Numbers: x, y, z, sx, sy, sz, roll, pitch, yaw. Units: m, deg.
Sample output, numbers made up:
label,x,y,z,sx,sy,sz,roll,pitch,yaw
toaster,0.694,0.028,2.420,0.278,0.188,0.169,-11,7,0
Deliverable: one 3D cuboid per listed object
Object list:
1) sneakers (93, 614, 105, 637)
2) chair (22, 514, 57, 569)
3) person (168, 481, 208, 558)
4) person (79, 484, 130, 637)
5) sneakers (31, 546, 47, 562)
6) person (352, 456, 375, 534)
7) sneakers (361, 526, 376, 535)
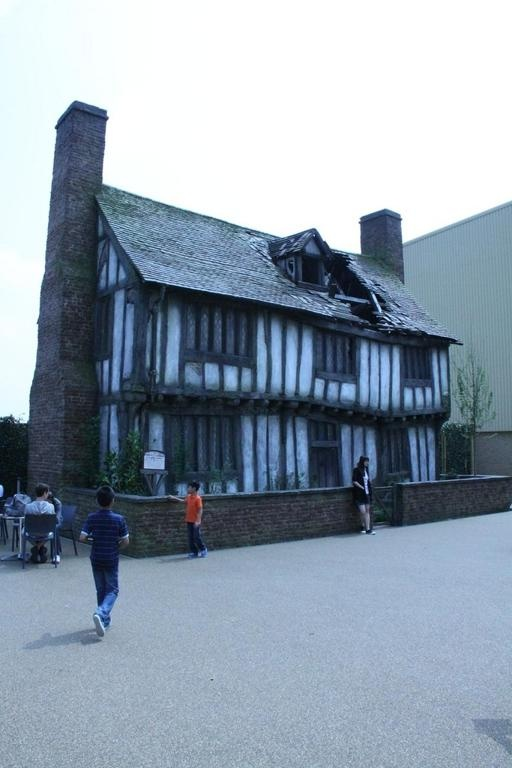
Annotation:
label,x,y,z,sx,sy,sz,roll,pitch,yaw
sneakers,-1.396,2.165,4.978,0.083,0.228,0.309,0,-7,-11
chair,-3.370,2.353,8.697,0.493,0.880,0.605,4,11,-16
person,-1.102,2.344,9.542,0.511,1.273,0.896,0,-6,-10
person,-1.466,1.662,5.314,0.457,1.312,0.371,-6,-8,37
sneakers,-3.453,2.741,8.851,0.255,0.351,0.189,4,-6,-32
person,2.378,2.527,12.457,0.410,1.691,0.658,-3,-6,17
sneakers,2.565,3.331,12.507,0.403,0.191,0.138,4,-4,-33
